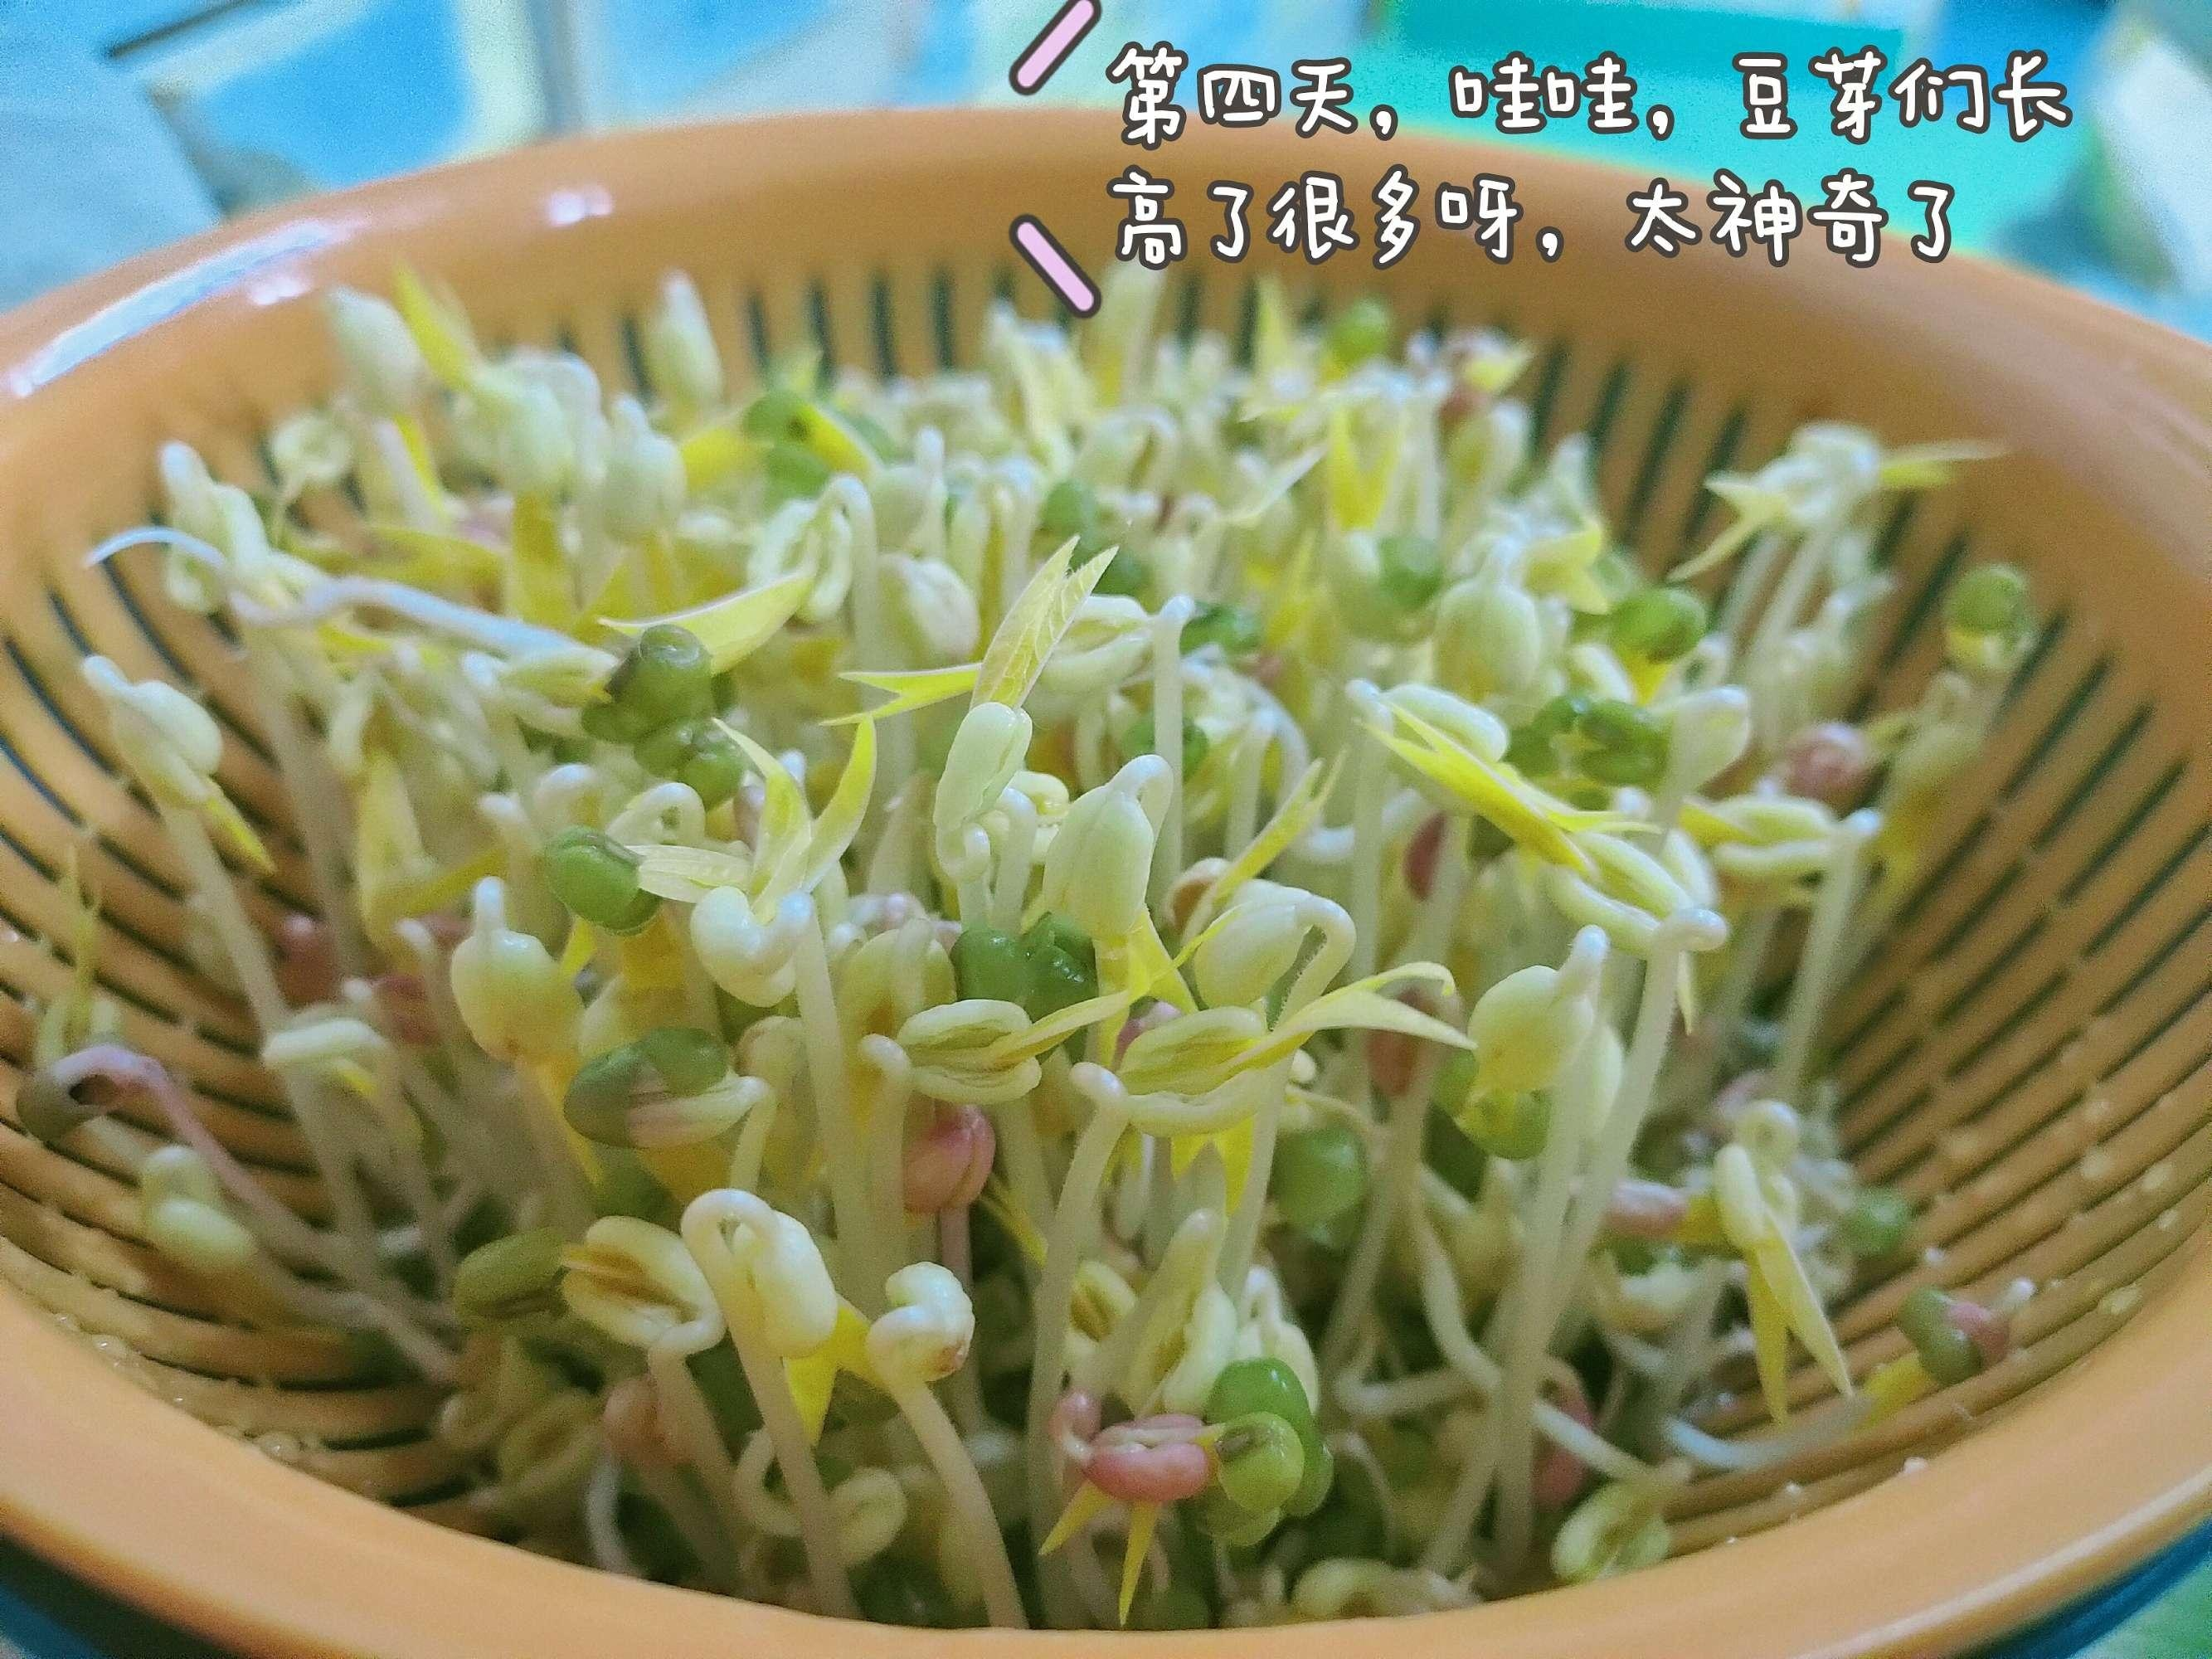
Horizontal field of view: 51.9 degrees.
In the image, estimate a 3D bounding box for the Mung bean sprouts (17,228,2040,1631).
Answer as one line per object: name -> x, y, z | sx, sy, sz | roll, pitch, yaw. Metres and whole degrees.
Mung bean sprouts -> -0.045, 0.037, 0.783 | 0.523, 0.319, 0.536 | 22, 36, 30
